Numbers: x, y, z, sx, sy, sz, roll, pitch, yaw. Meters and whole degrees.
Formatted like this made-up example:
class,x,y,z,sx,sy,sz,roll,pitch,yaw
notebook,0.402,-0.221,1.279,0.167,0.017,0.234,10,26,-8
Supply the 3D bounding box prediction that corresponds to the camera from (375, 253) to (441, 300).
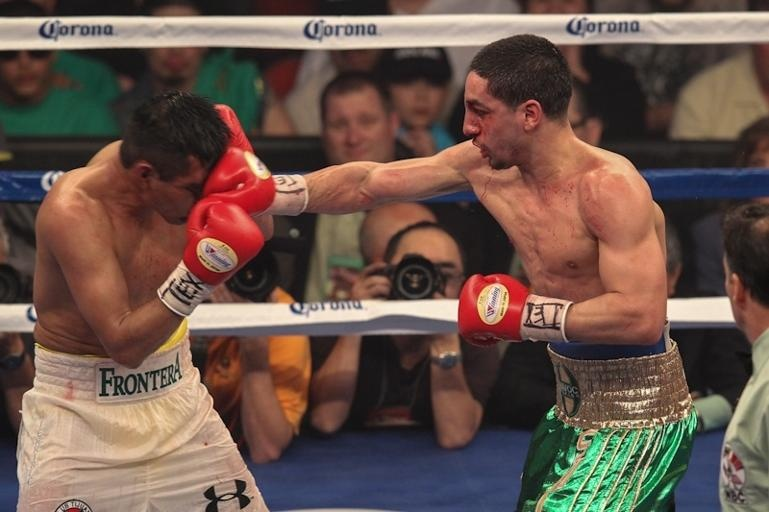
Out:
class,x,y,z,sx,sy,sz,roll,pitch,yaw
camera,0.150,0.126,5.330,0.297,0.179,0.216,3,-7,-3
